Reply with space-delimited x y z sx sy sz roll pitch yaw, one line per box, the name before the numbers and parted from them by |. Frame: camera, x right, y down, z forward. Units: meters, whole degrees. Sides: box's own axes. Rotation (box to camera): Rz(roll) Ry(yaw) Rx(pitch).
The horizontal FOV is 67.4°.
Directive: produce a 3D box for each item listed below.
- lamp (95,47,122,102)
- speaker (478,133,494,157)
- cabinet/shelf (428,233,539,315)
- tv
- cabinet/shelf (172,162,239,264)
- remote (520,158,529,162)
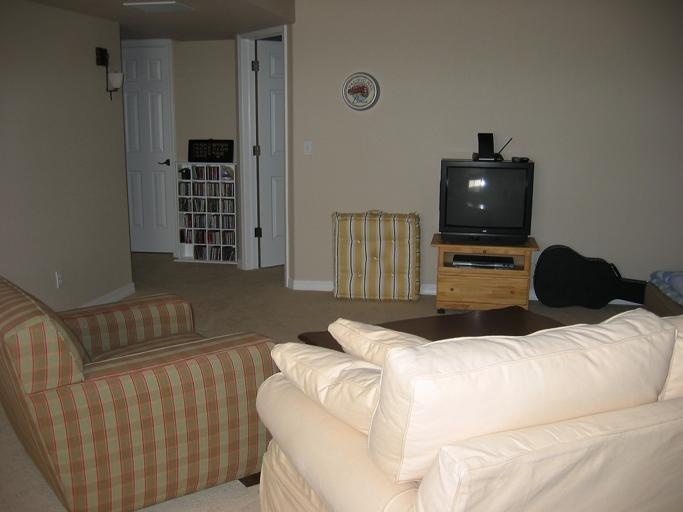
lamp | -2.060 -1.641 4.575 0.207 0.437 0.219 -3 12 -18
speaker | 1.281 -0.979 4.543 0.135 0.226 0.185 3 11 12
cabinet/shelf | 1.253 0.225 4.567 1.006 0.796 0.575 1 4 10
tv | 1.333 -0.615 4.679 0.820 0.759 0.454 5 34 20
cabinet/shelf | -1.663 -0.534 6.293 0.834 1.197 0.215 4 12 16
remote | 1.620 -0.857 4.531 0.071 0.038 0.253 5 11 20
